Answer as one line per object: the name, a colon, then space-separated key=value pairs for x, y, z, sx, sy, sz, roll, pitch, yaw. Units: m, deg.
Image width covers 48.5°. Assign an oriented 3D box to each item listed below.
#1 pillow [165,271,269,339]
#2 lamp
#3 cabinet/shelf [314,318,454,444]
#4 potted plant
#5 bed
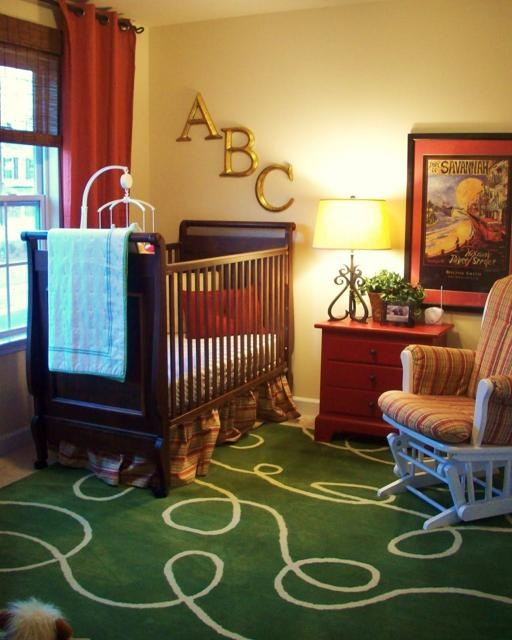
pillow: x=-0.182 y=-0.076 z=2.960 sx=0.481 sy=0.403 sz=0.117 roll=-10 pitch=34 yaw=-10
lamp: x=0.551 y=-0.347 z=3.227 sx=0.414 sy=0.714 sz=0.461 roll=2 pitch=6 yaw=13
cabinet/shelf: x=0.703 y=0.351 z=3.211 sx=0.646 sy=0.626 sz=0.398 roll=4 pitch=7 yaw=26
potted plant: x=0.758 y=-0.139 z=3.162 sx=0.311 sy=0.188 sz=0.302 roll=0 pitch=9 yaw=-19
bed: x=-0.423 y=0.083 z=3.083 sx=0.878 sy=1.175 sz=1.373 roll=6 pitch=12 yaw=25
